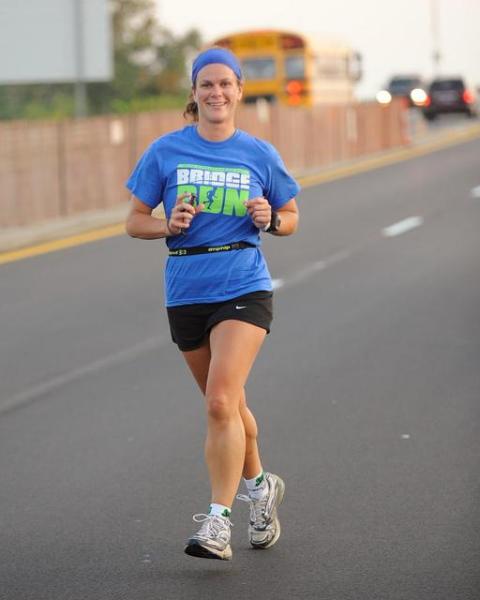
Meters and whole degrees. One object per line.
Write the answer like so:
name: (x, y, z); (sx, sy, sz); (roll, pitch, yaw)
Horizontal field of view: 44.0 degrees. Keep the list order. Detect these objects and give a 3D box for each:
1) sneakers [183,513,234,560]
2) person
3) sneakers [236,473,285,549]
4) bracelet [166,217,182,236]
sneakers: (-0.092, 0.723, 1.751); (0.088, 0.127, 0.188); (-2, 0, 16)
person: (-0.034, -0.039, 1.974); (0.619, 1.622, 0.546); (-2, 0, -14)
sneakers: (0.091, 0.744, 2.119); (0.102, 0.119, 0.262); (-6, 43, 19)
bracelet: (-0.208, -0.238, 1.928); (0.052, 0.057, 0.021); (-1, 9, 8)
